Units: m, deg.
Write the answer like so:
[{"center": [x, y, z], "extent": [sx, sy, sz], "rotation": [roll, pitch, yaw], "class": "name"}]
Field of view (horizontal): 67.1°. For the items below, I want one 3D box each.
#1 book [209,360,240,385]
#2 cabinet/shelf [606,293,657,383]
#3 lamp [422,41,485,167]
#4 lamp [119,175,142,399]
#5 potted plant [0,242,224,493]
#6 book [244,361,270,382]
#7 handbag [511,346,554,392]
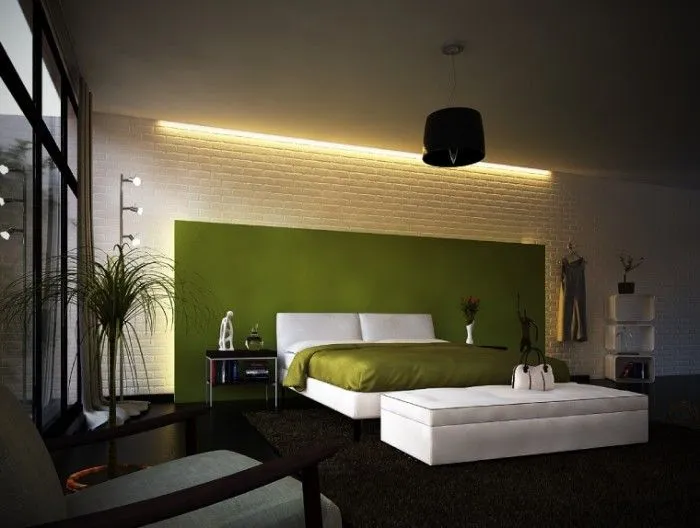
[{"center": [-1.452, 1.232, 6.162], "extent": [0.367, 0.376, 0.267], "rotation": [2, -11, -17], "class": "book"}, {"center": [4.271, 1.136, 8.083], "extent": [0.553, 1.331, 0.439], "rotation": [0, -5, 14], "class": "cabinet/shelf"}, {"center": [0.926, -1.423, 4.730], "extent": [0.527, 1.073, 0.798], "rotation": [0, -2, 13], "class": "lamp"}, {"center": [-2.570, 0.270, 6.111], "extent": [0.349, 2.581, 0.328], "rotation": [0, -3, -39], "class": "lamp"}, {"center": [-1.891, 0.817, 4.207], "extent": [1.764, 1.992, 1.622], "rotation": [0, -3, -30], "class": "potted plant"}, {"center": [-1.081, 1.247, 6.122], "extent": [0.222, 0.147, 0.227], "rotation": [2, -8, -19], "class": "book"}, {"center": [1.580, 0.915, 4.561], "extent": [0.359, 0.368, 0.152], "rotation": [1, -4, -7], "class": "handbag"}]
